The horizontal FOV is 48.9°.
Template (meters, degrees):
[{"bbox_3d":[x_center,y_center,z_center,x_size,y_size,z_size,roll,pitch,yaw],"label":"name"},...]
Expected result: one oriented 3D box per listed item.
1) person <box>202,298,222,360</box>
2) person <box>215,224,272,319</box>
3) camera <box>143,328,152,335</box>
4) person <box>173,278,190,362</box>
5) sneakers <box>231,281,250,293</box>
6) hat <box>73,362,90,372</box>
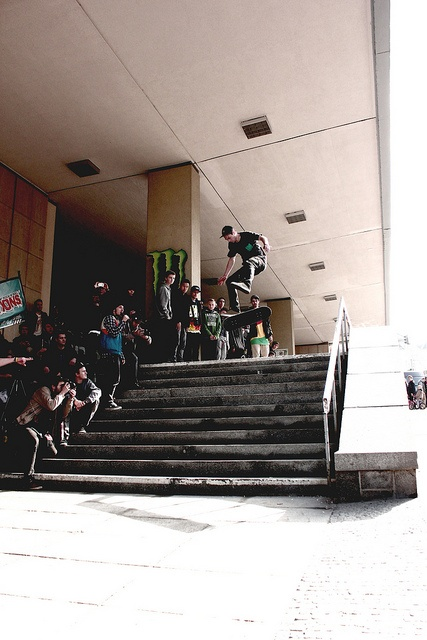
[{"bbox_3d":[-0.030,0.171,7.868,0.330,0.962,0.665,-5,-7,1],"label":"person"},{"bbox_3d":[0.413,-0.771,6.460,0.659,1.344,0.815,30,-43,-34],"label":"person"},{"bbox_3d":[-1.008,0.181,6.932,0.029,0.106,0.115,-25,-6,14],"label":"camera"},{"bbox_3d":[-0.479,-0.014,7.021,0.268,1.283,0.884,-4,-7,-3],"label":"person"},{"bbox_3d":[0.373,-0.415,6.030,0.199,0.143,0.290,-10,-9,35],"label":"sneakers"},{"bbox_3d":[-1.481,0.488,5.164,0.155,0.125,0.126,2,-2,31],"label":"hat"}]
